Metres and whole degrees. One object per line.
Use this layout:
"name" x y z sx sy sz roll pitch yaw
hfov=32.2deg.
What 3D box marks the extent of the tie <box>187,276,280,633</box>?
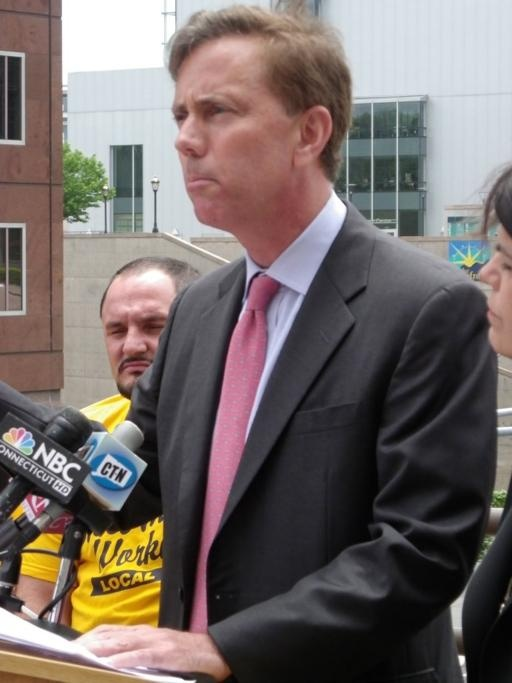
"tie" -0.043 0.254 1.797 0.085 0.805 0.083 7 -26 20
